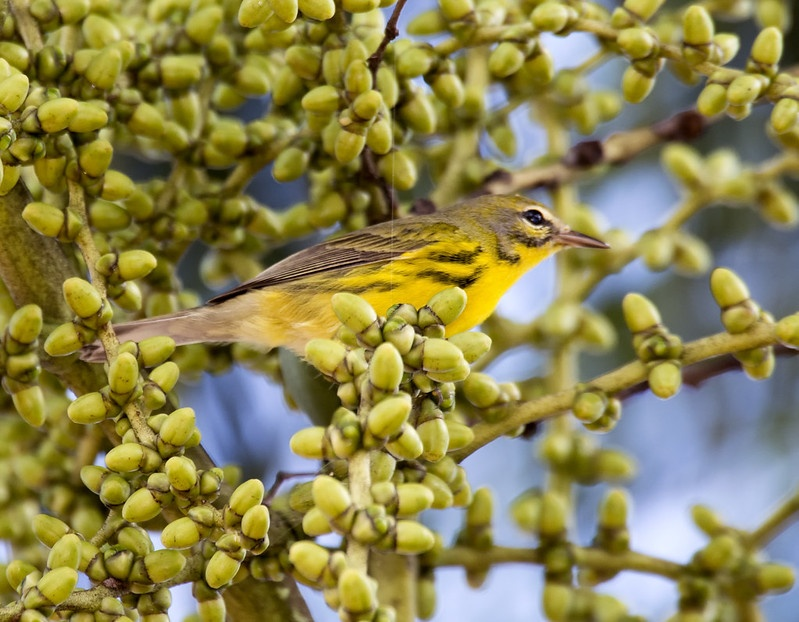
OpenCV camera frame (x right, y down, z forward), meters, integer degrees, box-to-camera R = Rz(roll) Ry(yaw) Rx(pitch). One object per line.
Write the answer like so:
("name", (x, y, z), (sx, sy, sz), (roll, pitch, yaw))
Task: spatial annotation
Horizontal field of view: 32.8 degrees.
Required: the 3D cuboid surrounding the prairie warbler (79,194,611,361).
("prairie warbler", (-0.160, -0.051, 4.267), (1.580, 0.454, 0.604), (-1, 52, 6))
